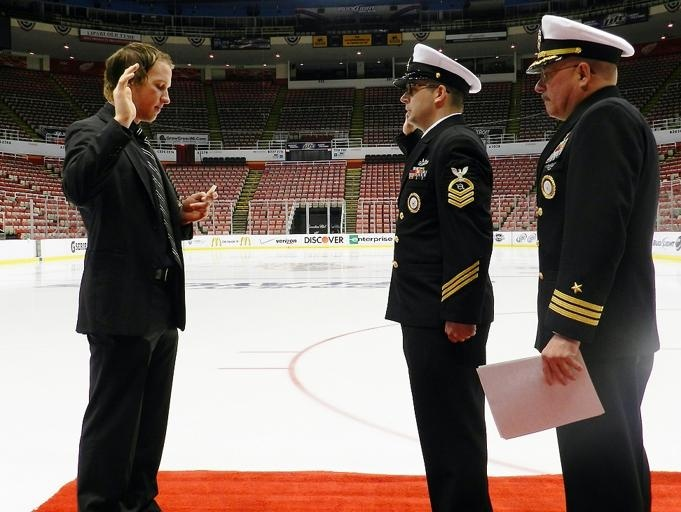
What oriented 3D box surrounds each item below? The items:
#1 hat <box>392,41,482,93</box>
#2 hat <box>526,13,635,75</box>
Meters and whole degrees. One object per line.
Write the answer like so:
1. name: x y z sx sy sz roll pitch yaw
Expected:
1. hat: 0.485 -0.889 2.911 0.415 0.199 0.338 9 3 8
2. hat: 1.030 -0.919 2.606 0.450 0.229 0.374 1 14 -3
